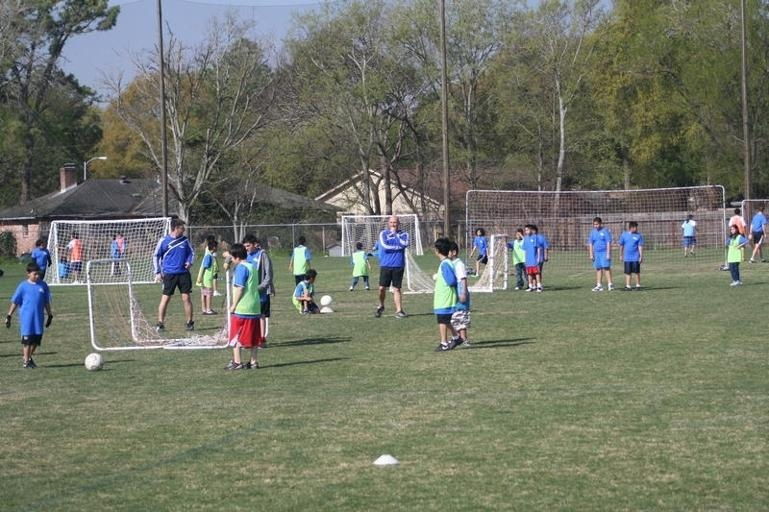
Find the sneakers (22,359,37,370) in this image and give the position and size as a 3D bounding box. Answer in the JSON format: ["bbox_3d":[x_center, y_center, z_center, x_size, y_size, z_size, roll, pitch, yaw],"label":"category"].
[{"bbox_3d":[-8.176,2.498,24.033,0.357,0.146,0.152,0,1,41],"label":"sneakers"}]

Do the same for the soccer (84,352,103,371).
[{"bbox_3d":[-6.645,2.418,23.792,0.442,0.372,0.278,-2,-1,3],"label":"soccer"}]

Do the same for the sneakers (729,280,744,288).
[{"bbox_3d":[11.284,0.881,33.409,0.464,0.169,0.164,2,-1,-43],"label":"sneakers"}]

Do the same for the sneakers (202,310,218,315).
[{"bbox_3d":[-5.051,1.639,30.291,0.405,0.157,0.141,-1,0,4],"label":"sneakers"}]

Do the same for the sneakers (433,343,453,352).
[{"bbox_3d":[1.414,2.187,24.961,0.469,0.178,0.154,-2,2,-8],"label":"sneakers"}]

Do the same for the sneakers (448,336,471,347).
[{"bbox_3d":[1.820,2.080,25.230,0.620,0.253,0.214,3,4,-9],"label":"sneakers"}]

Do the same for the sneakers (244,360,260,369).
[{"bbox_3d":[-3.030,2.489,23.809,0.386,0.139,0.143,-3,3,-6],"label":"sneakers"}]

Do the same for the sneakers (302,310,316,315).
[{"bbox_3d":[-2.144,1.635,30.078,0.372,0.237,0.121,0,0,7],"label":"sneakers"}]

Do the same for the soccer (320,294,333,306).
[{"bbox_3d":[-1.693,1.292,30.371,0.278,0.262,0.345,4,10,9],"label":"soccer"}]
